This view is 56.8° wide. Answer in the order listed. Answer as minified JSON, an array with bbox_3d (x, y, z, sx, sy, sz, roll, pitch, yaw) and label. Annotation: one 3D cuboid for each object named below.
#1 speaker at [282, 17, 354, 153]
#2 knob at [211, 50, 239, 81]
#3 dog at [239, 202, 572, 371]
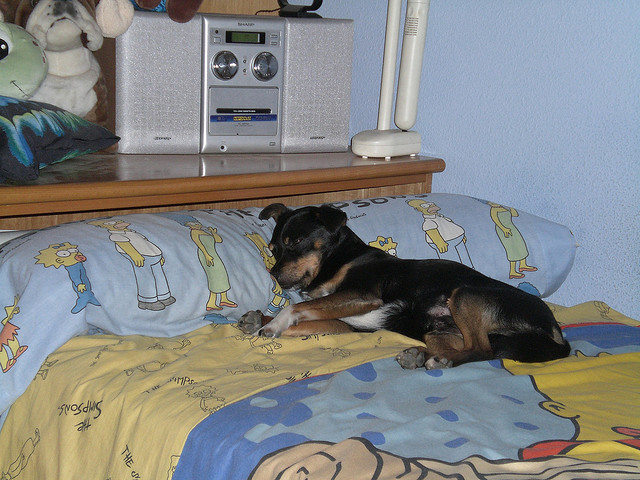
[{"bbox_3d":[-0.012,-0.590,2.295,0.285,0.498,0.144,-1,24,-16],"label":"speaker"},{"bbox_3d":[-0.343,-0.630,2.138,0.092,0.106,0.025,-8,27,-31],"label":"knob"},{"bbox_3d":[0.190,0.159,1.715,1.054,0.295,0.350,7,-21,6],"label":"dog"}]
